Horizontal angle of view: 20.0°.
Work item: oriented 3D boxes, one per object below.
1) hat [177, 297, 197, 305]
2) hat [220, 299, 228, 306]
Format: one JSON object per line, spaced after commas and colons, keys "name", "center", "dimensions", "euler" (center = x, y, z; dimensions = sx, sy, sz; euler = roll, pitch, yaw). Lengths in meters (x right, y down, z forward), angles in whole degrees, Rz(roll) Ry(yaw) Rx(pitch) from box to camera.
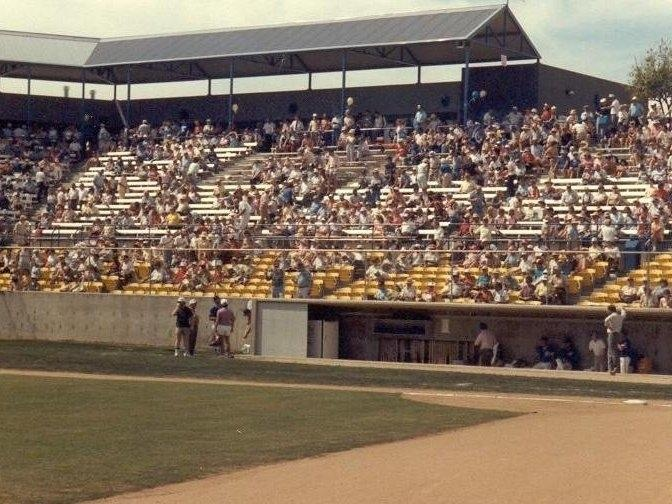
{"name": "hat", "center": [-5.109, 1.692, 65.658], "dimensions": [0.522, 0.199, 0.378], "euler": [-6, -6, 39]}
{"name": "hat", "center": [-3.758, 1.726, 64.446], "dimensions": [0.209, 0.208, 0.203], "euler": [1, 1, 14]}
